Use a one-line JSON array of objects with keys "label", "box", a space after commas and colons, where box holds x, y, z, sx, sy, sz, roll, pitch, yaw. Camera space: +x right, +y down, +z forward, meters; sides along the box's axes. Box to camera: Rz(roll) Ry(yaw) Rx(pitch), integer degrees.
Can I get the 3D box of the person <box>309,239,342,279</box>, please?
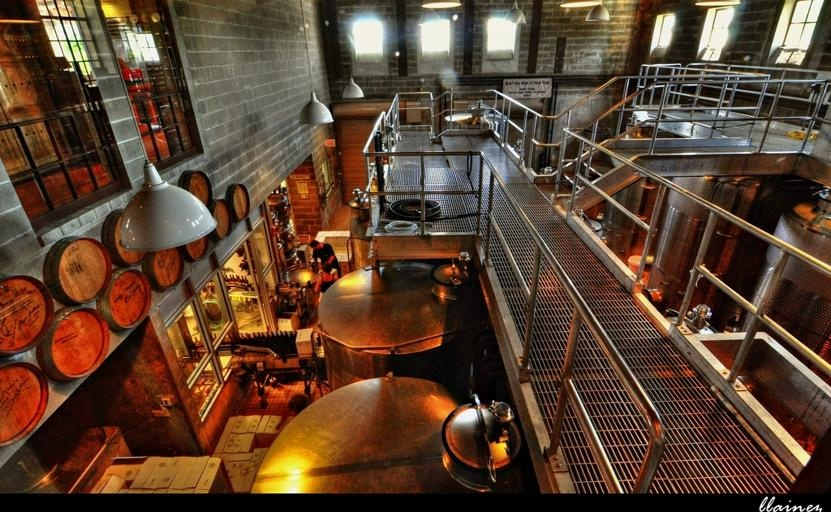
[{"label": "person", "box": [-2.104, 0.092, 11.227, 0.490, 1.114, 0.590, 20, 50, 28]}]
